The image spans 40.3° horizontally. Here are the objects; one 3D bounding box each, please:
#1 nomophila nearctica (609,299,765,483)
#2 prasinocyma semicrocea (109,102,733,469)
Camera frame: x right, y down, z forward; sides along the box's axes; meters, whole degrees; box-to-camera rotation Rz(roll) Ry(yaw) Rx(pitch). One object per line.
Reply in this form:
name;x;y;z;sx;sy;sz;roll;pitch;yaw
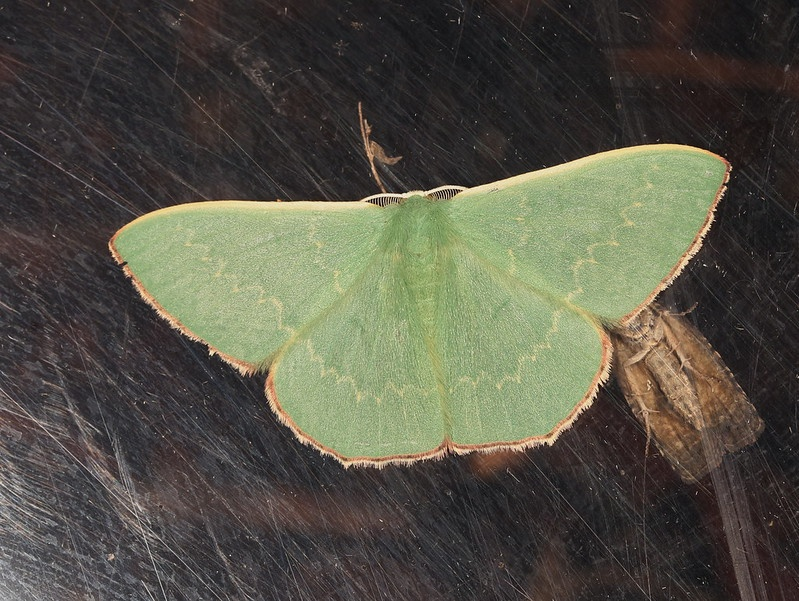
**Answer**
nomophila nearctica;1.065;0.284;4.365;0.411;0.219;0.838;-32;64;1
prasinocyma semicrocea;-0.020;-0.153;4.663;1.603;1.482;2.098;1;31;-6
